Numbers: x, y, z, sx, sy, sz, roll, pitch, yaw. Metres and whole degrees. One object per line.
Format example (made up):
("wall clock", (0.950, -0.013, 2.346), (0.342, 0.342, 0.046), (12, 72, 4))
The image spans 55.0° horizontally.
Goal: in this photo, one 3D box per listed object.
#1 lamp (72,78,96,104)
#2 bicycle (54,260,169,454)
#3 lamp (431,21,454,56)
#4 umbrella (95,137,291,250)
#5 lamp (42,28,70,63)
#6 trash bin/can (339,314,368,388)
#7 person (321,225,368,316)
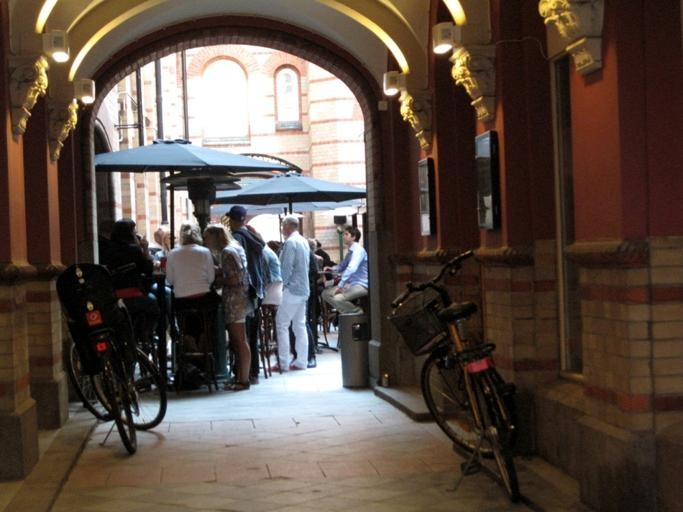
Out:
("lamp", (-2.999, -1.964, 7.693), (0.192, 0.232, 0.265), (-1, 0, -14))
("bicycle", (-2.414, 0.973, 6.717), (1.094, 1.456, 1.572), (-1, 0, -3))
("lamp", (0.975, -2.089, 6.230), (0.162, 0.305, 0.501), (-1, 0, -1))
("umbrella", (-2.403, -1.087, 9.904), (1.700, 1.126, 1.830), (4, 5, 24))
("lamp", (-2.684, -2.021, 6.309), (0.256, 0.348, 0.457), (-5, 8, -15))
("trash bin/can", (0.180, 1.353, 9.446), (0.444, 1.007, 0.306), (-1, 0, 9))
("person", (0.079, 0.361, 11.445), (0.933, 1.658, 0.899), (-6, 3, -28))
